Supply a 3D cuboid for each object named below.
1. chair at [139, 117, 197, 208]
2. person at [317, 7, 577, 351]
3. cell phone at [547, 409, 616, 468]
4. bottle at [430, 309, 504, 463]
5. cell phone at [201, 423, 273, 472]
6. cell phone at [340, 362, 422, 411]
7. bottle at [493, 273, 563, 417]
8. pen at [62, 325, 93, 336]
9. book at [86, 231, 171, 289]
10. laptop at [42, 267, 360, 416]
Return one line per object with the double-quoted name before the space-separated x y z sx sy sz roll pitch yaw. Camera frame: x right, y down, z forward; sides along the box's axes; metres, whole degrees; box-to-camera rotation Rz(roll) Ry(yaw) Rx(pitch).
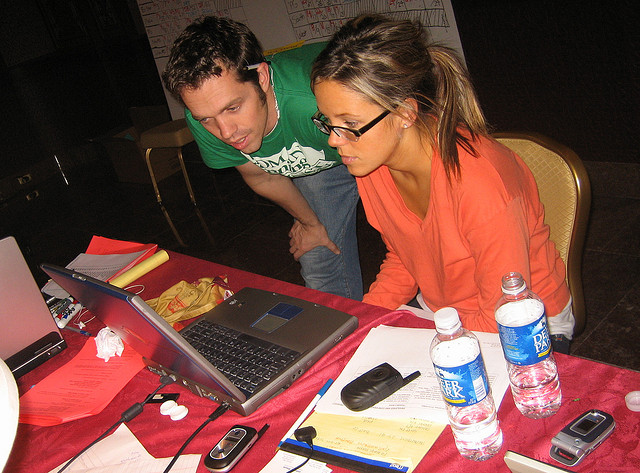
"chair" -1.258 -0.551 3.629 0.453 0.576 0.452 3 18 35
"person" 0.360 -0.128 1.194 0.691 0.894 0.432 20 46 40
"cell phone" 0.451 0.329 0.750 0.131 0.033 0.058 -33 29 -22
"bottle" 0.259 0.280 0.793 0.099 0.294 0.092 -15 15 4
"cell phone" -0.179 0.419 0.893 0.058 0.027 0.108 1 25 39
"cell phone" 0.133 0.306 0.941 0.166 0.035 0.073 -25 28 -20
"bottle" 0.387 0.184 0.806 0.122 0.253 0.175 1 36 21
"pen" -0.754 0.296 1.366 0.083 0.009 0.008 16 84 20
"book" -0.644 0.104 1.660 0.295 0.076 0.292 5 37 24
"laptop" -0.262 0.183 1.092 0.532 0.285 0.550 -2 24 35
